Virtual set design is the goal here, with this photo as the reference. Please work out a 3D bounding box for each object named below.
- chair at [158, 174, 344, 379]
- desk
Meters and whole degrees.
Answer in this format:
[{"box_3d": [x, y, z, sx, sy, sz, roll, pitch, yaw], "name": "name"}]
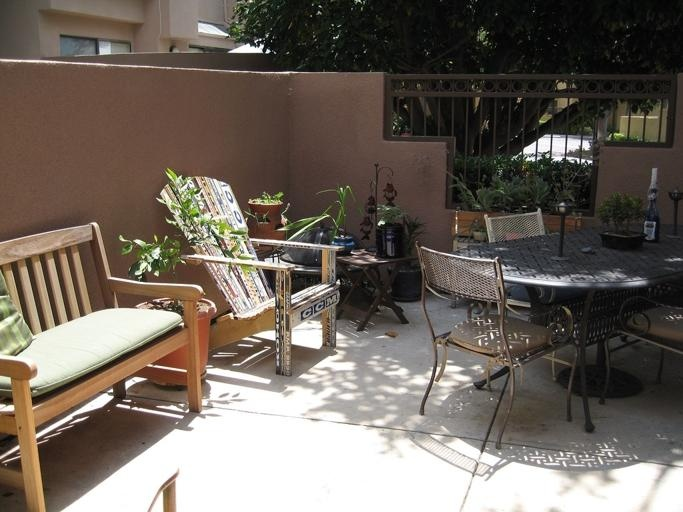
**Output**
[{"box_3d": [-0.879, 0.012, 4.352, 1.748, 1.659, 1.258, 14, 19, 24], "name": "chair"}, {"box_3d": [0.275, 0.222, 4.960, 0.776, 0.683, 0.755, -7, 14, -26], "name": "desk"}]
